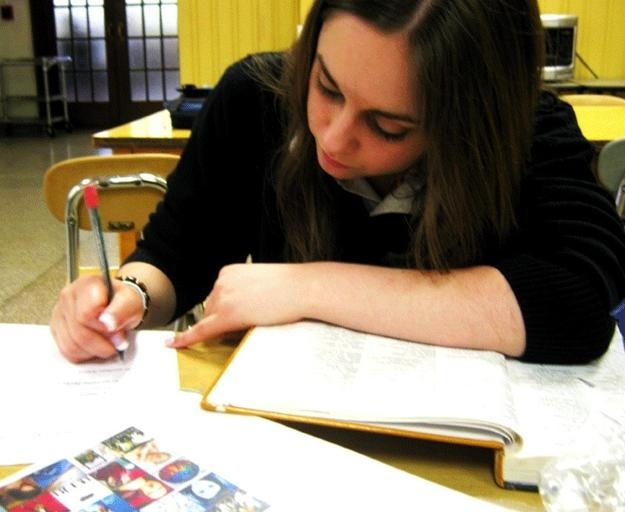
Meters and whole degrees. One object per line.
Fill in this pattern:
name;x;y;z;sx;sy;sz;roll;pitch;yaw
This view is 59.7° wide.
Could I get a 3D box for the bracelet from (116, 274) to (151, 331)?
bracelet;-0.292;0.075;0.890;0.063;0.080;0.027;-12;-7;28
